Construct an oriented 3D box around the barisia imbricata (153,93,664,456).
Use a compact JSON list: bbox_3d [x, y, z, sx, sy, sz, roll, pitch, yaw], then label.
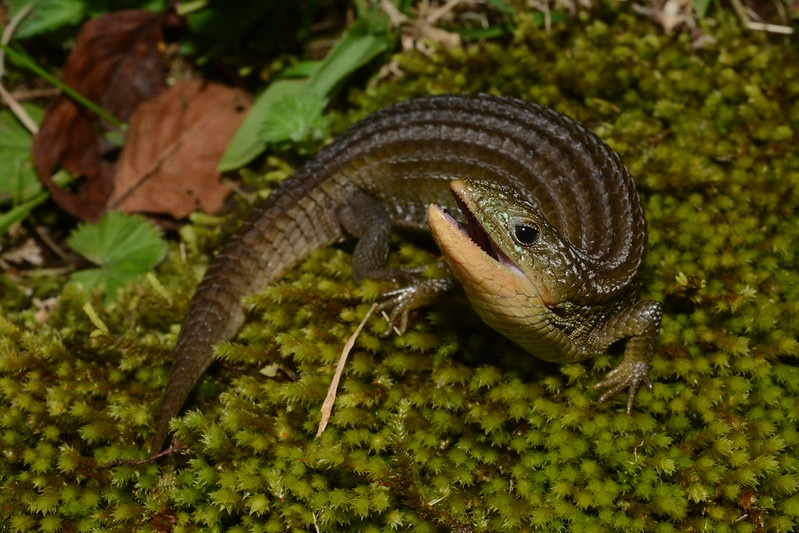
[{"bbox_3d":[0.186,-0.222,5.162,3.173,1.123,2.500,14,48,30],"label":"barisia imbricata"}]
